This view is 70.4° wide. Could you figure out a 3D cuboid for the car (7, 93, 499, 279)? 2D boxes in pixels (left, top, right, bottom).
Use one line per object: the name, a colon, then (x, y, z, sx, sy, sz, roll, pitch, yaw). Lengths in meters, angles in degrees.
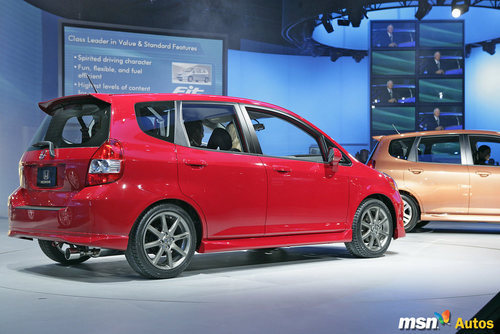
car: (-0.411, 0.198, 4.871, 4.314, 1.517, 2.403, -1, 0, -30)
